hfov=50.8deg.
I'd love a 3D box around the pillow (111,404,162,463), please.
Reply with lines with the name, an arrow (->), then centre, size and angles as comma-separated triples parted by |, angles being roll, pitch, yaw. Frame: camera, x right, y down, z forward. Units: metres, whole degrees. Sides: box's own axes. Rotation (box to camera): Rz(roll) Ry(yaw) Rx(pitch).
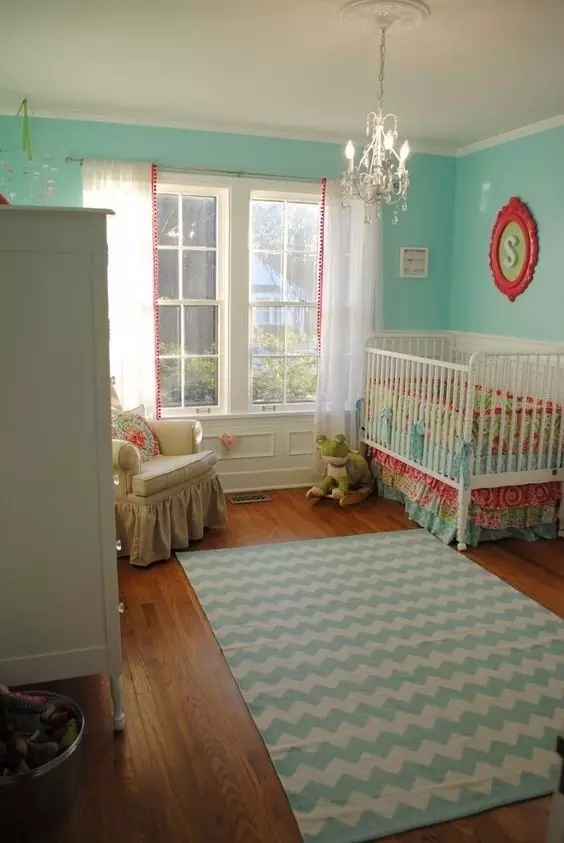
pillow -> -0.858, 0.073, 3.479 | 0.099, 0.313, 0.305 | -21, -6, 27

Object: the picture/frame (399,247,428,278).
picture/frame -> 1.022, -1.251, 4.656 | 0.226, 0.234, 0.035 | -2, 8, -22

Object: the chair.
chair -> -0.767, 0.212, 3.484 | 0.700, 0.873, 0.611 | -2, 16, 45

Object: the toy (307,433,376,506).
toy -> 0.438, 0.341, 4.359 | 0.349, 0.524, 0.554 | 2, 11, 37
